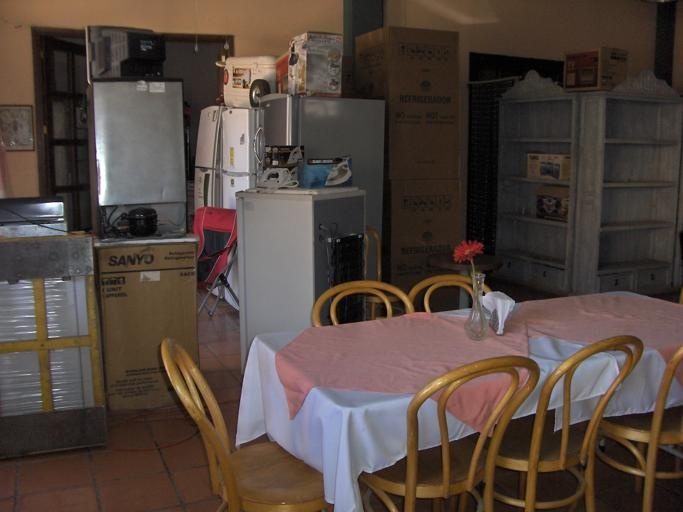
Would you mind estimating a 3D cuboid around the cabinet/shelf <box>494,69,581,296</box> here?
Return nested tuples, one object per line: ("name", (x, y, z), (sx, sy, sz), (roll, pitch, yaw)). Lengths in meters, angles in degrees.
("cabinet/shelf", (2.368, -0.920, 7.034), (1.202, 2.858, 0.666), (14, 16, 37))

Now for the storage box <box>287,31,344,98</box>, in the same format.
("storage box", (-0.190, -1.641, 5.081), (0.395, 0.571, 0.520), (-4, 17, -27))

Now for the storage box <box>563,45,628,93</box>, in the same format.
("storage box", (2.791, -1.955, 6.276), (0.488, 0.531, 0.680), (-5, 10, -31))

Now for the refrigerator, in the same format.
("refrigerator", (-0.636, -0.461, 4.595), (1.292, 2.579, 1.728), (1, 7, 9))

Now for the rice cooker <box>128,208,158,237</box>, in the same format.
("rice cooker", (-1.368, -0.228, 3.922), (0.192, 0.186, 0.111), (-7, 15, -22))
